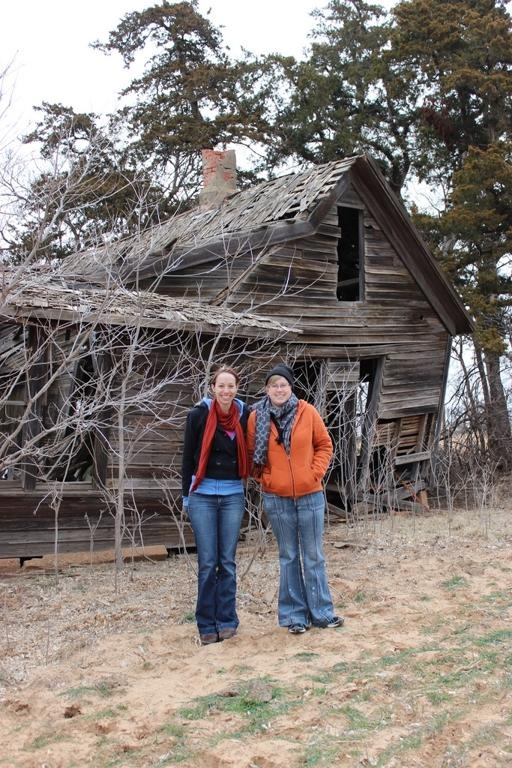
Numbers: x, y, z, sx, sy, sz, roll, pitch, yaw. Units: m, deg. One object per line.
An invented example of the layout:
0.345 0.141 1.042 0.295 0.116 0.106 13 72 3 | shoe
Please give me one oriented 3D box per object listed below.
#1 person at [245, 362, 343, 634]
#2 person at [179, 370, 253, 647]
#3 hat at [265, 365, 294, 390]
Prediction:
0.250 0.749 4.335 0.534 1.728 0.310 -5 -4 -3 | person
-0.236 0.801 4.377 0.475 1.802 0.412 -5 -4 -4 | person
0.163 -0.050 4.382 0.133 0.140 0.174 2 -3 -4 | hat
